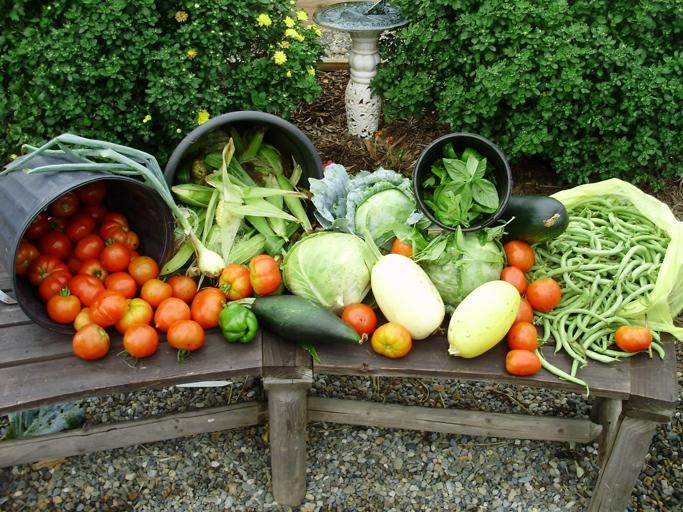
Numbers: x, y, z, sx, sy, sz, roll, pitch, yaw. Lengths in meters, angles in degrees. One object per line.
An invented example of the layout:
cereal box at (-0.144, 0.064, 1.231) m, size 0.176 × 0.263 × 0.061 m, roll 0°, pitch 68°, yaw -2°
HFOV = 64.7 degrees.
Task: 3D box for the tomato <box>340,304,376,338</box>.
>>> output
tomato at (0.080, 0.279, 2.425) m, size 0.160 × 0.132 × 0.145 m, roll -6°, pitch 3°, yaw 0°

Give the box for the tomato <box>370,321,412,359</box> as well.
tomato at (0.228, 0.369, 2.369) m, size 0.192 × 0.142 × 0.122 m, roll 7°, pitch 43°, yaw 4°

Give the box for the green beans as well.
green beans at (1.165, 0.130, 2.628) m, size 0.714 × 0.833 × 0.633 m, roll -12°, pitch 33°, yaw -22°

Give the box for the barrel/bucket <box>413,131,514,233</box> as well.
barrel/bucket at (0.615, -0.413, 2.532) m, size 0.453 × 0.493 × 0.595 m, roll -5°, pitch 30°, yaw 2°

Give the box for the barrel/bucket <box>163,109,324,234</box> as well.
barrel/bucket at (-0.528, -0.546, 2.900) m, size 0.799 × 0.574 × 0.629 m, roll -7°, pitch 31°, yaw -15°
